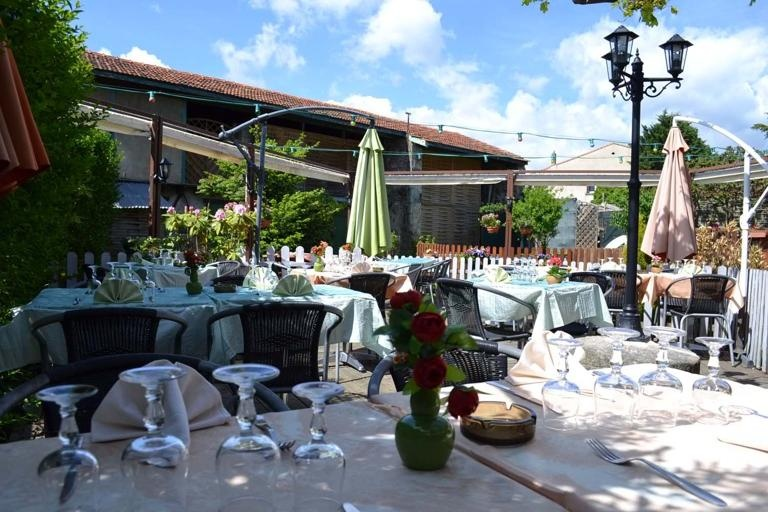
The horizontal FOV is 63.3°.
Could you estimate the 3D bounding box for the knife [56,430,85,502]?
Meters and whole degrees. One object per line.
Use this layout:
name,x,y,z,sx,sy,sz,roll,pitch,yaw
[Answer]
knife,-1.057,0.712,2.115,0.041,0.237,0.064,1,2,38

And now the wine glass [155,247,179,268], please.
wine glass,-3.039,0.022,8.837,0.317,0.348,0.316,4,1,14

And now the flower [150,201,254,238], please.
flower,-3.016,-0.621,11.120,1.308,0.591,1.145,-5,-2,-21

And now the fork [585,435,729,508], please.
fork,1.038,0.826,2.377,0.075,0.061,0.530,2,7,-32

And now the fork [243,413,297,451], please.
fork,-0.463,0.683,2.502,0.071,0.065,0.505,-1,1,-28

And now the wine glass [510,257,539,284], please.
wine glass,1.656,0.161,7.251,0.340,0.297,0.333,1,0,-29

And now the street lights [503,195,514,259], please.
street lights,3.458,-0.740,16.834,0.352,1.708,0.347,3,-1,23
